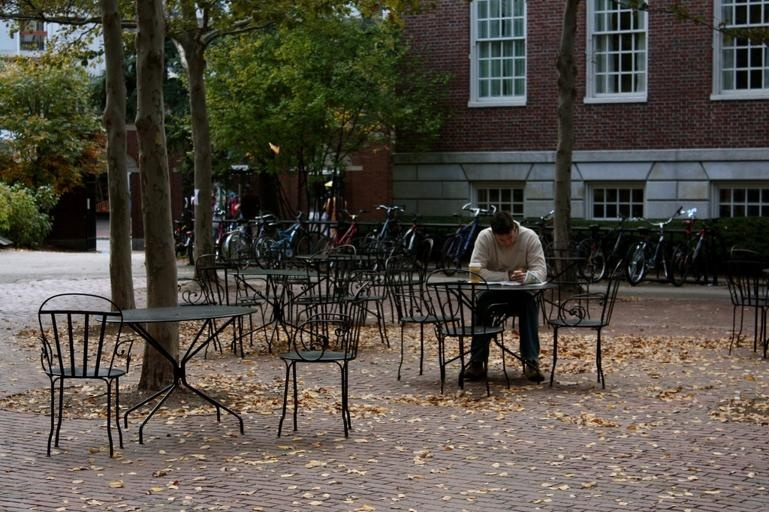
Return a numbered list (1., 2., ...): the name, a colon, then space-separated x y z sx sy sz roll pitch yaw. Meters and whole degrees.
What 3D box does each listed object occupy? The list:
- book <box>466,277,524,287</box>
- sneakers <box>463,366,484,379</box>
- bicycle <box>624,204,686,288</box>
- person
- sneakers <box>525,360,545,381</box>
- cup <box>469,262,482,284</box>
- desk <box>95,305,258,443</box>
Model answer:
1. book: 1.537 0.348 16.932 0.564 0.125 0.881 3 4 41
2. sneakers: 1.273 1.634 17.316 0.367 0.132 0.137 4 -5 -24
3. bicycle: 5.964 -0.157 26.710 1.218 1.436 2.331 2 3 14
4. person: 1.725 0.549 17.334 1.121 2.359 1.039 1 4 3
5. sneakers: 2.120 1.604 17.286 0.284 0.274 0.229 2 4 14
6. cup: 1.264 0.218 17.003 0.272 0.283 0.262 0 -1 0
7. desk: -2.716 1.388 16.895 1.569 1.648 3.744 0 3 -7
